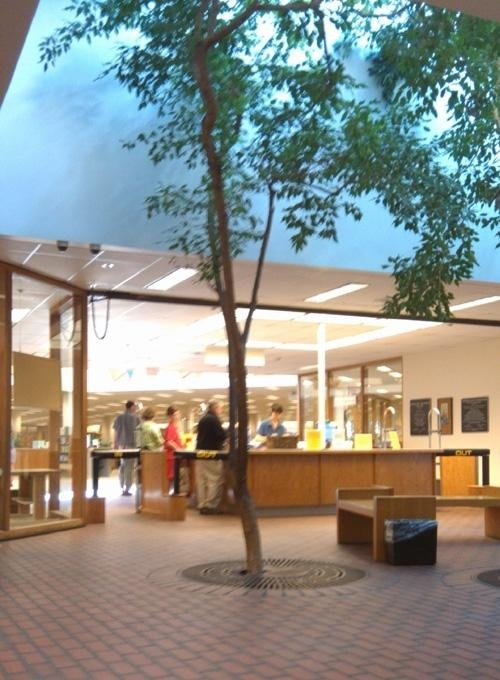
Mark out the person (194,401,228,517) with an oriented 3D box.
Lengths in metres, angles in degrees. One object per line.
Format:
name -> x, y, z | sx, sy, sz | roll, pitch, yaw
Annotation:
person -> -0.665, 1.977, 8.956 | 0.530, 1.886, 0.641 | -1, -10, -5

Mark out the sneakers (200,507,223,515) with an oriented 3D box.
sneakers -> -0.660, 2.880, 8.964 | 0.406, 0.176, 0.130 | -1, -3, -7

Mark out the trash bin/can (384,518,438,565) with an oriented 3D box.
trash bin/can -> 1.539, 1.904, 5.010 | 0.476, 0.389, 0.261 | -2, -7, -14

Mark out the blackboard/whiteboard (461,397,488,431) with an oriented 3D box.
blackboard/whiteboard -> 5.508, 1.804, 12.868 | 0.076, 0.778, 0.774 | 7, -14, -21

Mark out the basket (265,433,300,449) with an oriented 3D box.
basket -> 0.560, 1.718, 9.010 | 0.417, 0.224, 0.278 | 1, -5, -3

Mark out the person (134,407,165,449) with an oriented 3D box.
person -> -1.821, 1.611, 9.672 | 0.439, 0.760, 0.919 | 1, -11, -11
